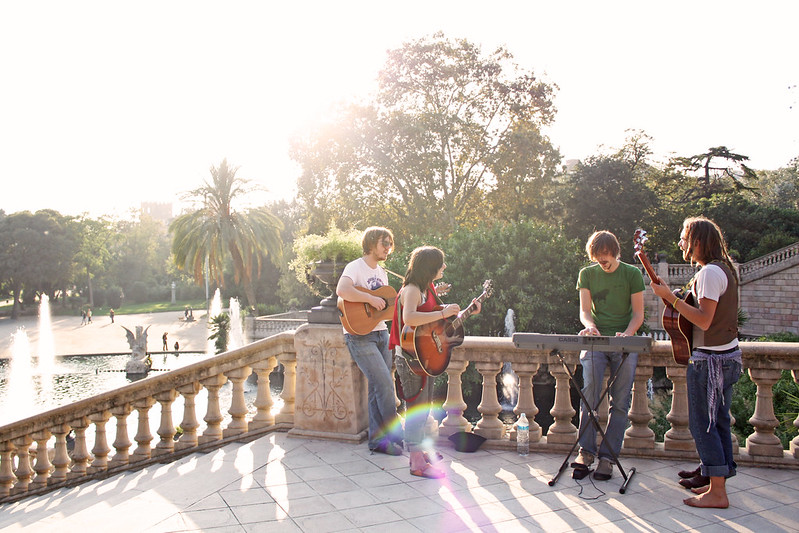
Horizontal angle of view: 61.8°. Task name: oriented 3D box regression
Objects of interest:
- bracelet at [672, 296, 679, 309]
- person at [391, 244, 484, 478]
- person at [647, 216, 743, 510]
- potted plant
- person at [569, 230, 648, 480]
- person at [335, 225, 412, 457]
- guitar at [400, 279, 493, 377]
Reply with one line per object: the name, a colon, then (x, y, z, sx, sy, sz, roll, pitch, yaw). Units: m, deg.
bracelet: (3.031, 0.398, 7.282, 0.089, 0.109, 0.033, -20, 20, -41)
person: (0.444, 1.092, 8.113, 0.968, 2.873, 1.080, 1, 0, 2)
person: (3.409, 1.056, 7.659, 0.933, 3.309, 1.083, -1, -2, 19)
potted plant: (-0.744, 0.058, 10.094, 1.470, 1.765, 1.344, 1, -5, -21)
person: (2.498, 1.061, 8.378, 0.950, 2.954, 0.958, -1, -1, -12)
person: (-0.423, 0.972, 8.664, 1.040, 2.732, 0.779, -1, -1, 32)
guitar: (0.685, 0.584, 8.075, 0.206, 0.739, 1.539, 14, 51, 48)
